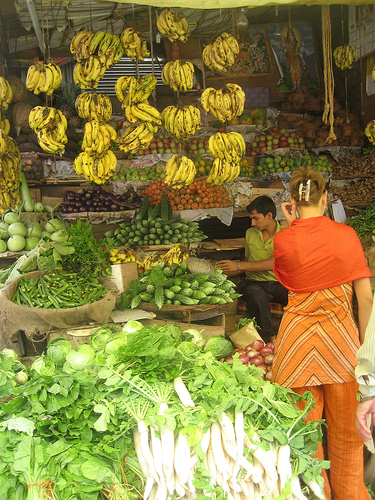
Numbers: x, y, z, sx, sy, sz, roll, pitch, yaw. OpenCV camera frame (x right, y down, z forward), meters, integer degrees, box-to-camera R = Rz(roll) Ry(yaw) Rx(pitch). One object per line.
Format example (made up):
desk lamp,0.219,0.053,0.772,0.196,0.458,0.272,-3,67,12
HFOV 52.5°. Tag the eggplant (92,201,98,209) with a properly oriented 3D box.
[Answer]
eggplant,-1.098,-0.545,4.571,0.057,0.033,0.059,-4,45,-1

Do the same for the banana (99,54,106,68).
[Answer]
banana,-0.597,-1.341,2.706,0.029,0.081,0.031,2,-14,7

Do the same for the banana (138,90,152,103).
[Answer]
banana,-0.320,-1.142,2.853,0.026,0.095,0.063,33,-6,26

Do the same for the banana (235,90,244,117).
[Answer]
banana,0.434,-1.177,3.071,0.041,0.133,0.085,8,8,19

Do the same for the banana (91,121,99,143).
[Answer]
banana,-0.642,-0.819,2.637,0.045,0.136,0.049,1,-13,-23

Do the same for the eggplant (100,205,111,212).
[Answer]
eggplant,-0.966,-0.495,4.528,0.079,0.080,0.122,6,27,43

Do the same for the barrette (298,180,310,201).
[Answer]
barrette,0.573,-0.287,1.865,0.056,0.088,0.059,-6,23,25

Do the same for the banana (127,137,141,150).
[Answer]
banana,-0.385,-0.778,2.792,0.091,0.055,0.023,-37,37,18

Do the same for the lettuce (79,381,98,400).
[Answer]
lettuce,-0.314,0.436,1.200,0.039,0.056,0.046,-5,23,26

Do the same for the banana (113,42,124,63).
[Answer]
banana,-0.506,-1.439,2.821,0.050,0.158,0.056,25,-5,-28

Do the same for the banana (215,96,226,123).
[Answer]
banana,0.264,-1.113,3.043,0.062,0.209,0.040,-20,17,4

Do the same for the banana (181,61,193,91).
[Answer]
banana,0.003,-1.354,2.931,0.062,0.200,0.150,-15,21,5

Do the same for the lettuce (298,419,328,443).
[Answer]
lettuce,0.415,0.582,1.231,0.092,0.027,0.085,21,40,8

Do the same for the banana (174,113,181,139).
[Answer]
banana,-0.072,-0.945,2.964,0.059,0.148,0.043,1,14,8

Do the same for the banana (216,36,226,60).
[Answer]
banana,0.264,-1.515,2.886,0.063,0.174,0.052,-4,4,23

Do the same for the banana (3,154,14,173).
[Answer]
banana,-1.554,-0.764,3.351,0.035,0.146,0.055,-8,25,19

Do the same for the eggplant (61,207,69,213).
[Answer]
eggplant,-1.465,-0.483,4.559,0.059,0.036,0.070,4,-2,-6

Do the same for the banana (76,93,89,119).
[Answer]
banana,-0.749,-1.069,2.814,0.116,0.132,0.045,-14,-8,40

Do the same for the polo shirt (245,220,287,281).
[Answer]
polo shirt,0.808,0.002,4.053,0.501,0.580,0.556,-7,22,20

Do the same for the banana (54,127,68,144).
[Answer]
banana,-0.832,-0.782,2.611,0.041,0.109,0.097,-27,23,-35

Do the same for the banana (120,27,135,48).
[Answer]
banana,-0.424,-1.530,2.753,0.124,0.131,0.096,-15,21,0

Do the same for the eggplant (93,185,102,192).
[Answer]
eggplant,-1.141,-0.760,4.832,0.110,0.031,0.100,8,24,16

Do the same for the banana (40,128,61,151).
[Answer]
banana,-0.924,-0.735,2.549,0.087,0.152,0.108,-25,23,-23

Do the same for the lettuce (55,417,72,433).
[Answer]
lettuce,-0.365,0.524,1.144,0.043,0.038,0.014,-11,-30,-36

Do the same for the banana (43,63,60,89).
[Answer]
banana,-0.921,-1.191,2.642,0.048,0.159,0.139,-3,4,37

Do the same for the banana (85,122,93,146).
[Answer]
banana,-0.678,-0.799,2.636,0.048,0.149,0.054,-7,-9,24

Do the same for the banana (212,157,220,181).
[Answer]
banana,0.235,-0.662,3.114,0.064,0.165,0.043,14,2,-35

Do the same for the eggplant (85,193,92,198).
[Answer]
eggplant,-1.211,-0.670,4.675,0.065,0.055,0.029,-3,-28,-13

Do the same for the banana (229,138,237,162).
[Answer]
banana,0.397,-0.815,3.115,0.051,0.138,0.041,-25,9,-40

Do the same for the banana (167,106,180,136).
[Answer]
banana,-0.104,-1.013,3.006,0.096,0.227,0.053,12,9,1

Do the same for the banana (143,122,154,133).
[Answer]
banana,-0.291,-0.901,2.806,0.048,0.069,0.017,-20,19,16

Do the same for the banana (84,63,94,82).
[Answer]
banana,-0.680,-1.217,2.659,0.036,0.150,0.055,23,8,-7

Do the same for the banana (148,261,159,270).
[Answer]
banana,-0.288,0.131,3.207,0.067,0.073,0.300,-8,1,-5

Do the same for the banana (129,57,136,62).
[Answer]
banana,-0.411,-1.432,2.864,0.038,0.009,0.041,-3,0,43

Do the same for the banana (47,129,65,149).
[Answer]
banana,-0.884,-0.748,2.570,0.099,0.151,0.047,-38,3,44

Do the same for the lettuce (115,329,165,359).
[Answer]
lettuce,-0.160,0.324,1.303,0.139,0.089,0.041,-20,16,-11

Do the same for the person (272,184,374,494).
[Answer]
person,0.668,0.440,1.896,0.466,1.472,0.681,-3,25,31

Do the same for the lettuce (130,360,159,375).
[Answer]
lettuce,-0.143,0.394,1.295,0.099,0.023,0.051,-16,20,-11

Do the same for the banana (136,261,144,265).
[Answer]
banana,-0.419,0.109,3.409,0.053,0.046,0.051,-16,20,-3

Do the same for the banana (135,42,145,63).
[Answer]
banana,-0.358,-1.466,2.857,0.029,0.109,0.042,3,24,39

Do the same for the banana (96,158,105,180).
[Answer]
banana,-0.640,-0.602,2.824,0.045,0.147,0.059,0,0,23

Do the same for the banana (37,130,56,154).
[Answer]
banana,-0.959,-0.716,2.607,0.103,0.142,0.039,-50,-4,26

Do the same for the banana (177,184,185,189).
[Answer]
banana,-0.064,-0.533,3.191,0.043,0.023,0.076,4,-1,4

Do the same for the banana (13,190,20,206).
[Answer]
banana,-1.692,-0.521,3.816,0.043,0.161,0.051,-2,22,14

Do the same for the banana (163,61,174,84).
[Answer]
banana,-0.158,-1.358,2.935,0.051,0.131,0.115,-3,-6,-19

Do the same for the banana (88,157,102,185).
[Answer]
banana,-0.673,-0.558,2.764,0.055,0.138,0.041,-7,-3,27

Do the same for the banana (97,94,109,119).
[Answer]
banana,-0.624,-1.077,2.867,0.054,0.155,0.132,-12,-6,8

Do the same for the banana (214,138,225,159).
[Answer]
banana,0.269,-0.808,3.060,0.039,0.124,0.080,-16,4,-40

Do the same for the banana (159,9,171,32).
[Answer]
banana,-0.153,-1.636,2.745,0.071,0.167,0.047,-11,3,-1

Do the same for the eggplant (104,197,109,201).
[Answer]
eggplant,-0.980,-0.615,4.627,0.044,0.020,0.039,1,28,-2

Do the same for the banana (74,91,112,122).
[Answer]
banana,-0.696,-1.049,2.807,0.247,0.255,0.172,-2,9,-4

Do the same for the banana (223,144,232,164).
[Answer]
banana,0.330,-0.766,3.089,0.031,0.114,0.033,-18,20,-10

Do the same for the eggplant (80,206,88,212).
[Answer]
eggplant,-1.218,-0.487,4.522,0.071,0.059,0.059,-3,-11,-20

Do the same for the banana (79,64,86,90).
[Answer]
banana,-0.745,-1.233,2.716,0.062,0.152,0.039,5,9,15

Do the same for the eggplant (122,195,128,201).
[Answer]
eggplant,-0.779,-0.661,4.774,0.054,0.059,0.056,-3,9,0

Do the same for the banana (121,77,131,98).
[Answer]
banana,-0.460,-1.220,2.872,0.049,0.165,0.063,8,-18,29

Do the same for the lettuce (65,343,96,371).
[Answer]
lettuce,-0.430,0.425,1.527,0.085,0.051,0.096,0,12,-2

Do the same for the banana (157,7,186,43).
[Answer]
banana,-0.149,-1.655,2.804,0.105,0.122,0.290,-3,27,-29

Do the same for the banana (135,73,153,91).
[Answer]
banana,-0.320,-1.243,2.850,0.186,0.066,0.065,-45,5,-27

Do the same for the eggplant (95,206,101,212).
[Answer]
eggplant,-1.053,-0.483,4.511,0.041,0.042,0.015,3,0,12
